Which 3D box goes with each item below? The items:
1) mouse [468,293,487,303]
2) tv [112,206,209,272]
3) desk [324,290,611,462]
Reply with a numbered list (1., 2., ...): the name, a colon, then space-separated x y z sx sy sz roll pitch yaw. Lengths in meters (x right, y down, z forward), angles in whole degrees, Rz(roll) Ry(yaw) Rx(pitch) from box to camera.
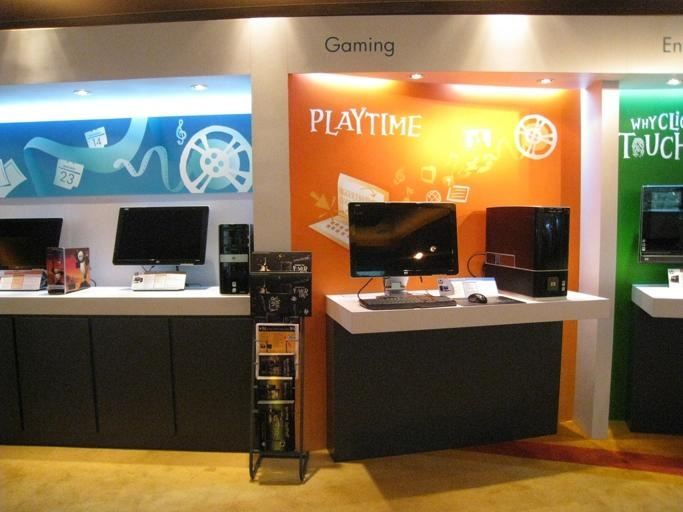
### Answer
1. mouse: 1.006 0.310 4.238 0.137 0.073 0.152 -2 -1 16
2. tv: -1.494 -0.151 4.773 0.559 0.377 0.060 -1 -16 4
3. desk: 0.892 1.009 4.504 2.035 1.307 1.060 -8 -2 31
